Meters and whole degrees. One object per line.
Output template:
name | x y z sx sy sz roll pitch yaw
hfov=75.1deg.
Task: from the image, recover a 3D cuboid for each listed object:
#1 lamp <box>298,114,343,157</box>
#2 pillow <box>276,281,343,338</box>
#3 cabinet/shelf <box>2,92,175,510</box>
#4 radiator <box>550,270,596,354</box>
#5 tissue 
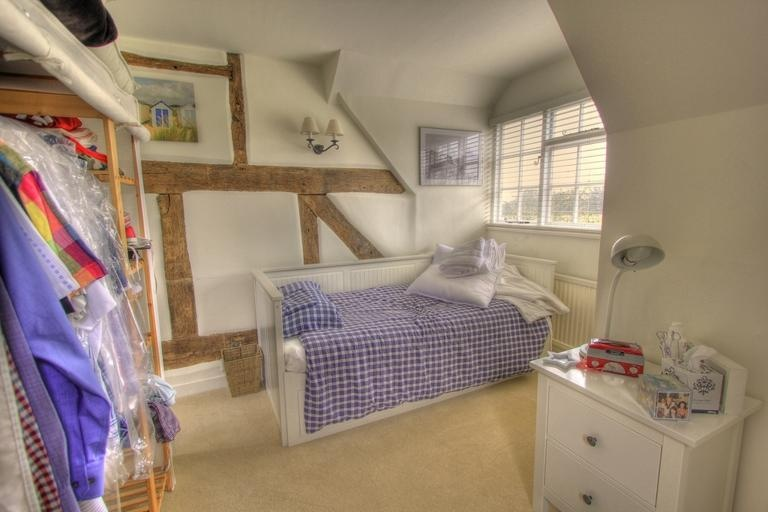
lamp | -0.512 -0.960 4.015 0.332 0.284 0.188 -1 3 -24
pillow | -0.572 0.353 3.441 0.284 0.109 0.448 -8 15 -27
cabinet/shelf | -1.446 0.334 2.631 0.500 2.117 1.416 -3 4 -18
radiator | 1.449 0.404 3.800 0.030 0.697 0.660 -4 1 -26
tissue  | 1.407 0.576 2.329 0.207 0.251 0.360 -2 3 6
